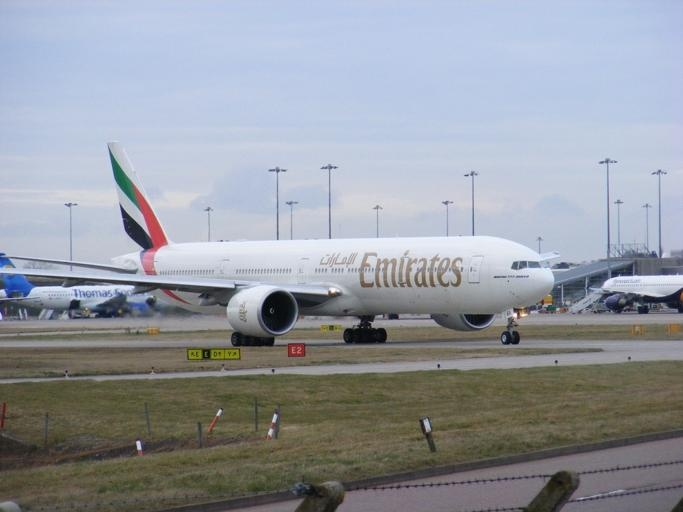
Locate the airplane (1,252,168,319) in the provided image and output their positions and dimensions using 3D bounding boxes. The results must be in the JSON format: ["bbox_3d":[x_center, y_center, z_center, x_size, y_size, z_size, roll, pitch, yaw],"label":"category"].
[{"bbox_3d":[-23.493,3.745,93.886,14.511,3.911,12.427,-1,2,-3],"label":"airplane"}]
